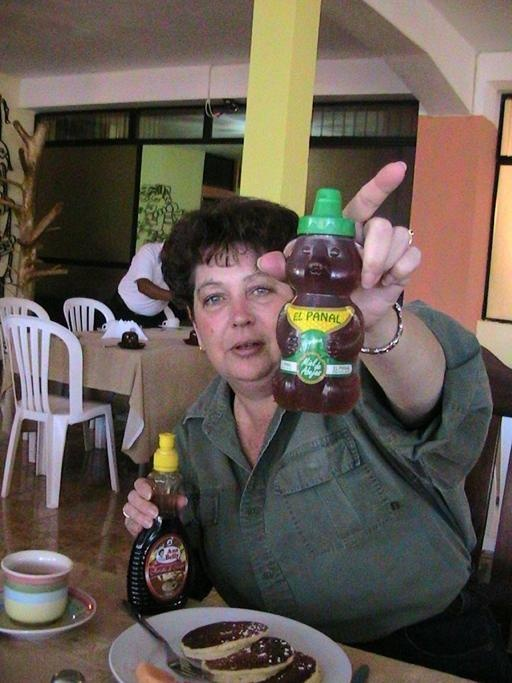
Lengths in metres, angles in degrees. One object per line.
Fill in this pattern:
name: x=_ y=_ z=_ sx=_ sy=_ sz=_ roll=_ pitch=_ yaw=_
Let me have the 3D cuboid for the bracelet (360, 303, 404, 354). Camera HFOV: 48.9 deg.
bracelet: x=0.151 y=-0.023 z=0.659 sx=0.052 sy=0.060 sz=0.017 roll=-6 pitch=27 yaw=-7

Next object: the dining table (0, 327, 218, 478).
dining table: x=-0.640 y=0.246 z=3.019 sx=0.828 sy=0.371 sz=0.809 roll=8 pitch=9 yaw=30

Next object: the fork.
fork: x=-0.112 y=0.290 z=0.581 sx=0.149 sy=0.021 sz=0.031 roll=23 pitch=-3 yaw=46

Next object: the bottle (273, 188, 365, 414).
bottle: x=0.065 y=-0.033 z=0.564 sx=0.093 sy=0.221 sz=0.169 roll=5 pitch=9 yaw=9

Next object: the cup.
cup: x=-0.245 y=0.269 z=0.639 sx=0.077 sy=0.054 sz=0.072 roll=2 pitch=3 yaw=0
